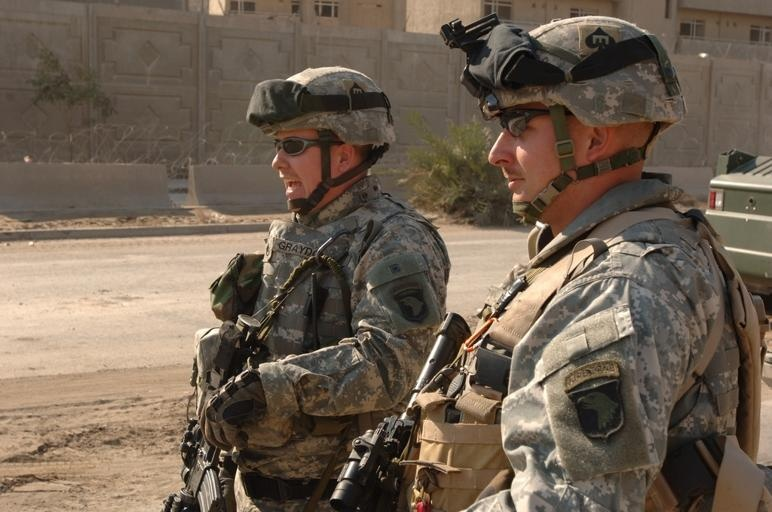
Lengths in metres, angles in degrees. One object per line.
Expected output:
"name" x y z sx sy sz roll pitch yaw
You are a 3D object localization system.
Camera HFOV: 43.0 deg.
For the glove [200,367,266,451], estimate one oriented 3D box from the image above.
"glove" -0.778 0.797 5.038 0.320 0.438 0.144 0 8 -12
